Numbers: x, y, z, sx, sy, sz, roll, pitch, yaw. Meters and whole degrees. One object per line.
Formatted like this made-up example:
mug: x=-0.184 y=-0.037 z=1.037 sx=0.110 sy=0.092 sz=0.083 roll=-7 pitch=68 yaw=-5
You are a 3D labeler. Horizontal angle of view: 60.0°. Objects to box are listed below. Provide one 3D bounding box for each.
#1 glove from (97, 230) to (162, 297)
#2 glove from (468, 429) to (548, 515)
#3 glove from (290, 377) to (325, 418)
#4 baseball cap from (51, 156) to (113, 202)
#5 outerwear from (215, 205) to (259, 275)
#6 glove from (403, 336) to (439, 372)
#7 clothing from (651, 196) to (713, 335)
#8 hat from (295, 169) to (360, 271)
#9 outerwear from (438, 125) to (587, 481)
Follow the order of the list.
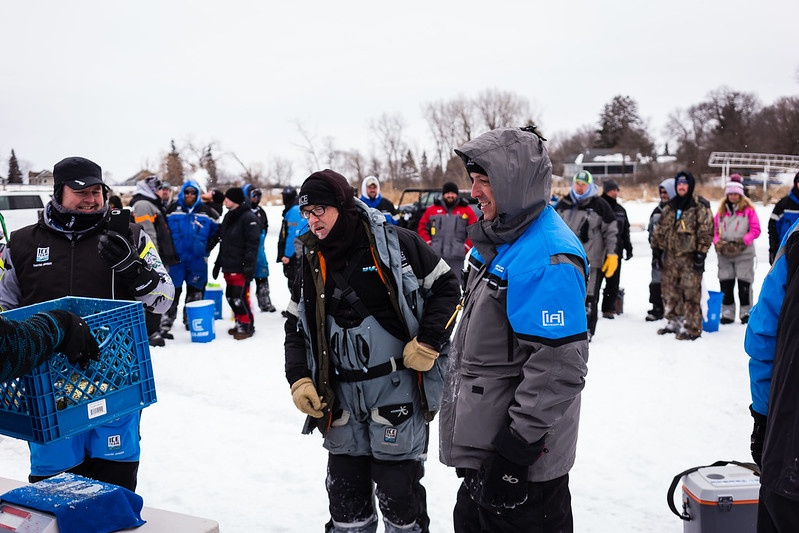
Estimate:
glove: x=-1.958 y=-0.025 z=5.105 sx=0.320 sy=0.530 sz=0.202 roll=-41 pitch=19 yaw=-15
glove: x=0.677 y=1.280 z=4.290 sx=0.387 sy=0.516 sz=0.223 roll=18 pitch=13 yaw=13
glove: x=-0.642 y=0.961 z=4.969 sx=0.248 sy=0.291 sz=0.156 roll=-2 pitch=6 yaw=-11
baseball cap: x=-2.304 y=-0.627 z=5.013 sx=0.362 sy=0.328 sz=0.338 roll=-5 pitch=7 yaw=-27
outerwear: x=-2.340 y=-0.379 z=10.173 sx=0.584 sy=1.044 sz=0.582 roll=-3 pitch=6 yaw=-12
glove: x=0.160 y=0.630 z=4.970 sx=0.239 sy=0.241 sz=0.205 roll=-1 pitch=2 yaw=43
clothing: x=3.994 y=-0.015 z=9.810 sx=0.377 sy=1.854 sz=0.948 roll=-3 pitch=7 yaw=-17
hat: x=-0.492 y=-0.342 z=5.036 sx=0.431 sy=0.718 sz=0.191 roll=-2 pitch=6 yaw=-6
outerwear: x=0.727 y=0.227 z=4.499 sx=0.949 sy=2.238 sz=0.631 roll=0 pitch=6 yaw=14
